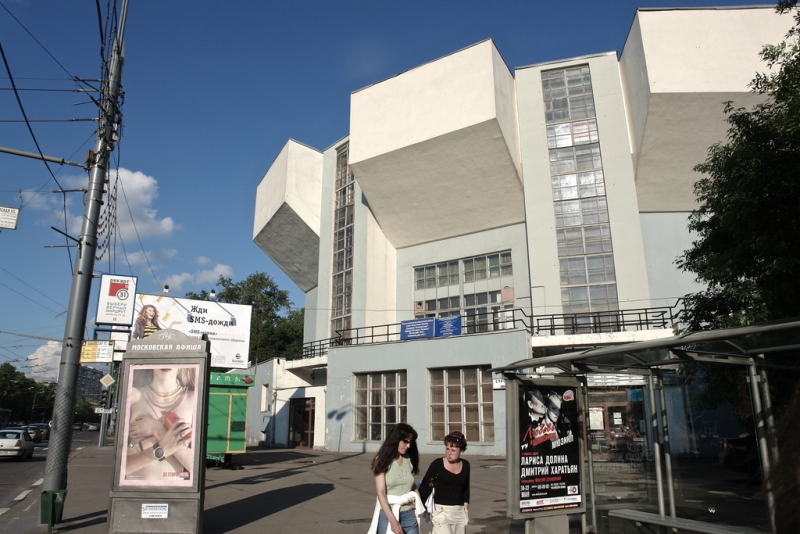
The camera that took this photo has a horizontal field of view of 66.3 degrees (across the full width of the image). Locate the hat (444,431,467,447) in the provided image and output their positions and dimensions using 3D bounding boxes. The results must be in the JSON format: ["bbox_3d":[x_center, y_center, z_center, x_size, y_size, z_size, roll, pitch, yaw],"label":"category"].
[{"bbox_3d":[1.267,4.013,14.073,0.444,0.425,0.630,-3,-17,4],"label":"hat"}]
